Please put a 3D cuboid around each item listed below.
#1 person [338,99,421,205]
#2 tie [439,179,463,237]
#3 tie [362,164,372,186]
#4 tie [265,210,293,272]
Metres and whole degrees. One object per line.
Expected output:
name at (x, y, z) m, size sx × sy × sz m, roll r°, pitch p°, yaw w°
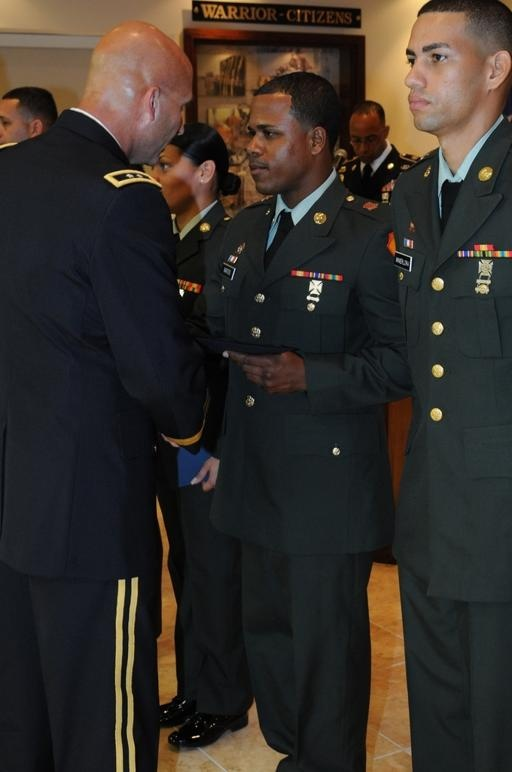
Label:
person at (0.782, -1.508, 4.061) m, size 0.338 × 0.575 × 0.708 m, roll -19°, pitch 32°, yaw -28°
tie at (0.320, -0.286, 1.009) m, size 0.042 × 0.078 × 0.020 m, roll 0°, pitch -10°, yaw 13°
tie at (0.703, -1.357, 4.012) m, size 0.054 × 0.109 × 0.025 m, roll -1°, pitch -8°, yaw 27°
tie at (0.062, -0.343, 1.441) m, size 0.045 × 0.181 × 0.040 m, roll 10°, pitch -20°, yaw 11°
